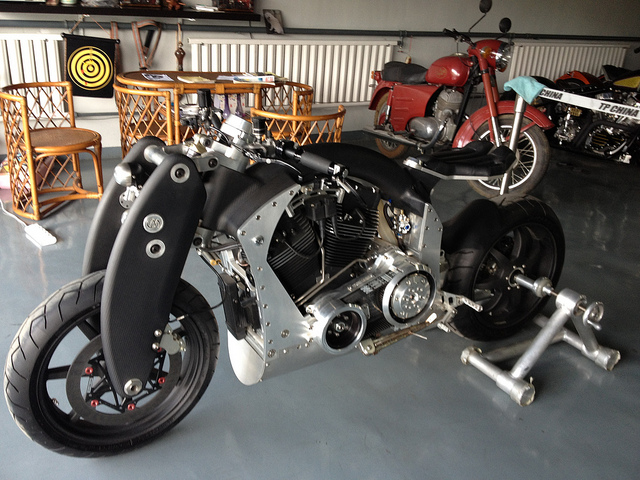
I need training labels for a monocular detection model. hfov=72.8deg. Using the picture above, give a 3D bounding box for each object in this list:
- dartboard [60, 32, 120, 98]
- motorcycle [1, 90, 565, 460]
[{"bbox_3d":[-2.147,-1.636,4.094,0.490,0.603,0.074,-14,28,-41],"label":"dartboard"},{"bbox_3d":[-0.040,0.137,1.753,2.111,1.276,0.598,-8,25,-28],"label":"motorcycle"}]
